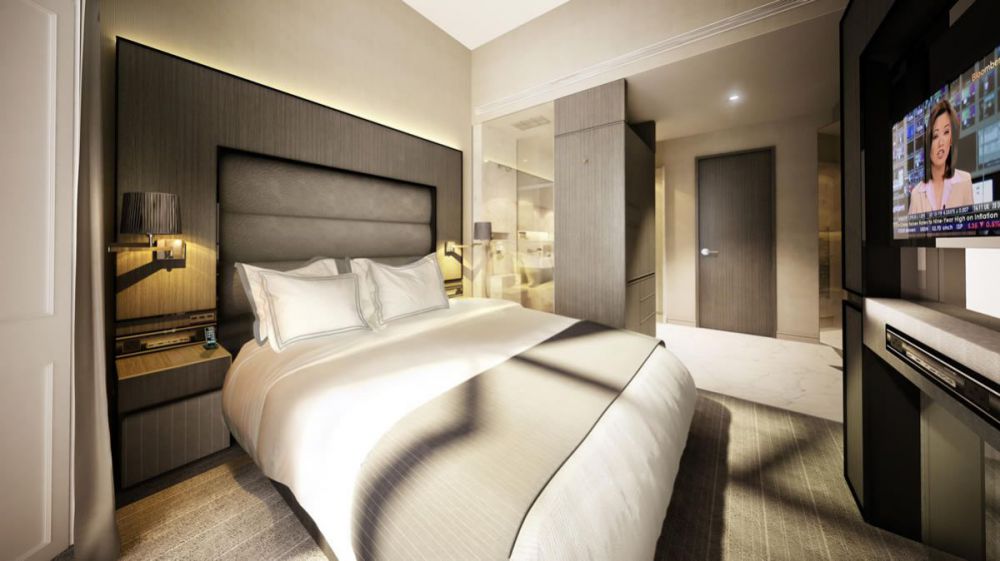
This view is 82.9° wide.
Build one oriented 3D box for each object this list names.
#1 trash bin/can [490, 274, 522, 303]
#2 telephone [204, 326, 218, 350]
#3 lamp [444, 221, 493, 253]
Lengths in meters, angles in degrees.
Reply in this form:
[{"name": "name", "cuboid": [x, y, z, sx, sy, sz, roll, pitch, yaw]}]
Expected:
[{"name": "trash bin/can", "cuboid": [0.081, 0.081, 6.384, 0.318, 0.294, 0.168, 4, -8, -38]}, {"name": "telephone", "cuboid": [-2.355, 0.467, 4.606, 0.102, 0.175, 0.039, -1, -16, -36]}, {"name": "lamp", "cuboid": [-0.302, -0.457, 6.180, 0.647, 0.408, 0.256, -1, -2, 32]}]
